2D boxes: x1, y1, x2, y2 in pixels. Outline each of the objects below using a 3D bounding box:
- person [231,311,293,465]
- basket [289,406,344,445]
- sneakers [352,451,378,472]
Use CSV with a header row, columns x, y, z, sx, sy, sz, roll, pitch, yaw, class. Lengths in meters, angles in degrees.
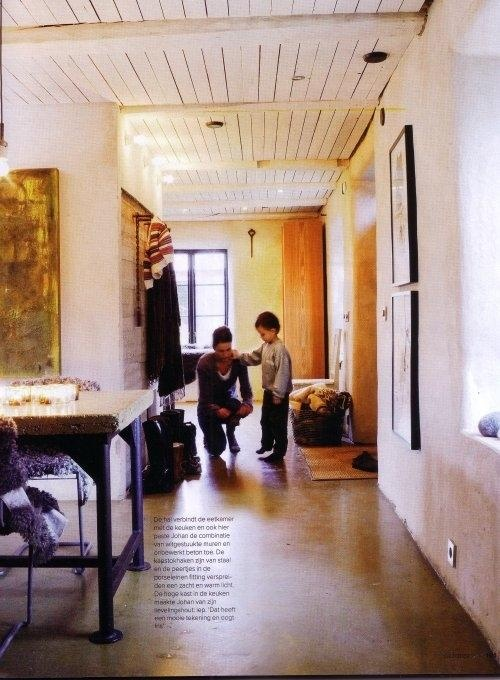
x,y,z,sx,sy,sz,roll,pitch,yaw,class
0.114,0.379,4.744,0.440,1.017,0.527,-1,0,-2,person
0.599,0.753,5.127,0.371,0.247,0.327,-1,-4,-1,basket
0.843,0.908,4.297,0.177,0.098,0.335,-1,1,9,sneakers
